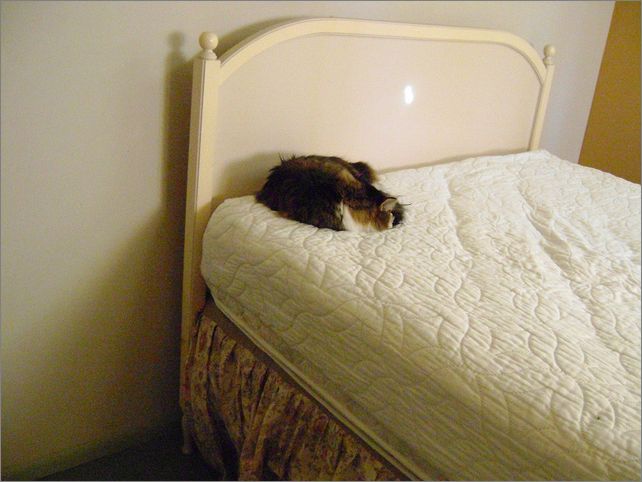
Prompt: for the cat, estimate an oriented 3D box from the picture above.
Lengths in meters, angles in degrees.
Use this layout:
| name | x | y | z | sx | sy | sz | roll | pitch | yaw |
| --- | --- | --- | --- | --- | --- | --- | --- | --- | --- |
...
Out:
| name | x | y | z | sx | sy | sz | roll | pitch | yaw |
| --- | --- | --- | --- | --- | --- | --- | --- | --- | --- |
| cat | 0.041 | -0.137 | 1.503 | 0.299 | 0.099 | 0.313 | 17 | 27 | 8 |
